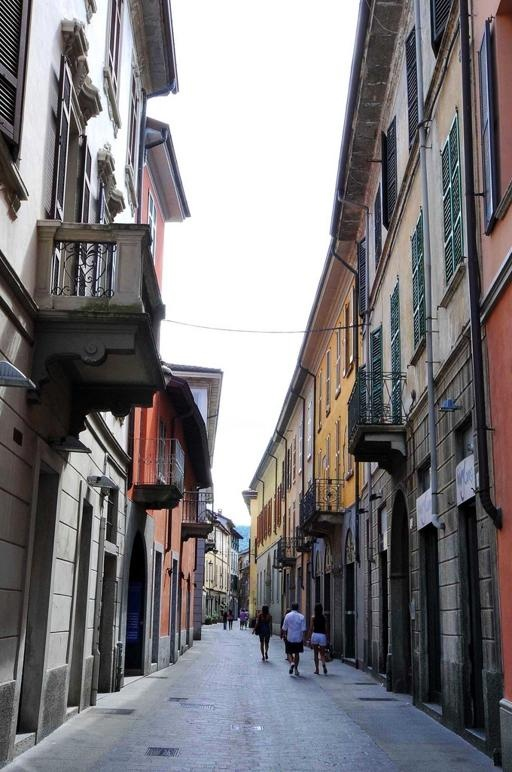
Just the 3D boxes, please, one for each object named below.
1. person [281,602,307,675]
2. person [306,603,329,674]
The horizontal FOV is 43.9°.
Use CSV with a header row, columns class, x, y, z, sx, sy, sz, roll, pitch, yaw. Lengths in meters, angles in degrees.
class,x,y,z,sx,sy,sz,roll,pitch,yaw
person,0.975,6.604,16.503,0.529,1.780,1.775,-2,-10,2
person,1.691,6.899,17.278,0.362,1.829,1.925,-2,-10,4
